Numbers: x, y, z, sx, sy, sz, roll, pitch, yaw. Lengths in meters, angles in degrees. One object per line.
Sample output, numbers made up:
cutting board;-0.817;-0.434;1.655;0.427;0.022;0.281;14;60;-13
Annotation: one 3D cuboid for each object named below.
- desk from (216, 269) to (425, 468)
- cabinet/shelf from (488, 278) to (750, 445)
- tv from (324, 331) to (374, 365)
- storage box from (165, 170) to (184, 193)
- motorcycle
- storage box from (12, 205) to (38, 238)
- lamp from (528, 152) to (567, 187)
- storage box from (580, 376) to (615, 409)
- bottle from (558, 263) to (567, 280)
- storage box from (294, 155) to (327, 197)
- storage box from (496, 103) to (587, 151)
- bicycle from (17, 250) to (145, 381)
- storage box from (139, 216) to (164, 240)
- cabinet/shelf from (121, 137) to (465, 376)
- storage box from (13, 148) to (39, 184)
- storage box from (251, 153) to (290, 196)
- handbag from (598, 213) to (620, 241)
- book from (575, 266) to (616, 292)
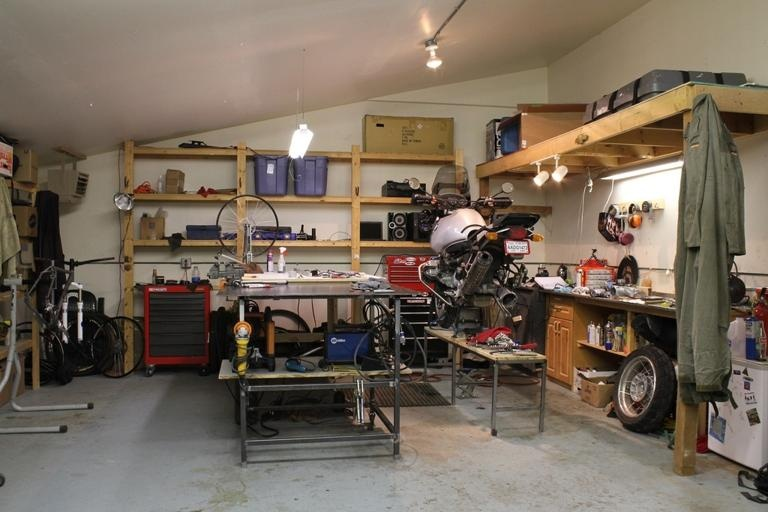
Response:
desk;-0.689;1.039;5.854;1.808;1.446;1.681;0;-2;-4
cabinet/shelf;2.665;1.042;6.343;0.599;1.011;2.184;2;0;-22
tv;-0.372;0.884;5.556;0.456;0.305;0.289;1;4;-16
storage box;-2.874;-1.022;7.789;0.175;0.222;0.311;-2;8;-3
motorcycle;0.993;-0.149;6.692;1.162;1.840;2.583;0;0;-15
storage box;-4.331;-0.439;7.020;0.159;0.276;0.290;-10;10;35
lamp;2.118;-1.132;7.314;0.378;0.314;0.167;0;-9;5
storage box;2.399;1.541;6.419;0.298;0.181;0.287;2;5;-9
bottle;2.447;0.226;7.764;0.064;0.187;0.137;1;-4;42
storage box;-0.996;-1.118;8.025;0.554;0.541;0.420;1;-1;14
storage box;2.262;-1.769;7.974;1.289;0.589;1.272;-2;2;19
bicycle;-3.754;0.789;6.875;1.275;1.611;0.671;-6;4;-9
storage box;-3.193;-0.391;7.812;0.323;0.295;0.330;-3;10;-17
cabinet/shelf;-1.324;0.003;7.305;3.488;1.792;0.468;1;4;-6
storage box;-4.417;-1.103;6.948;0.284;0.354;0.223;-3;-2;-2
storage box;-1.477;-1.122;8.018;0.628;0.582;0.487;1;-1;17
handbag;2.845;-0.372;7.136;0.178;0.169;0.314;-11;26;-1
book;2.598;0.272;6.942;0.461;0.288;0.260;0;0;-3
